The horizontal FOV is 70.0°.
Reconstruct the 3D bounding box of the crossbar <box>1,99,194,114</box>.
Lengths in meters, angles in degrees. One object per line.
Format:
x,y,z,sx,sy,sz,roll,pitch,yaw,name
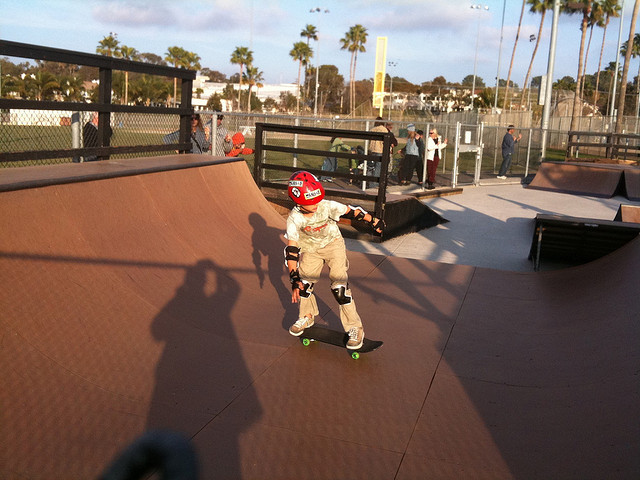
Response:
-2.899,-1.807,6.261,0.341,0.114,2.890,11,17,24,crossbar

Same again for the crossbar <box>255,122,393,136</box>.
0.098,-2.060,8.479,2.692,0.077,0.885,13,18,28,crossbar

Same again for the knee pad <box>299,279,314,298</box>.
-0.134,0.460,4.234,0.095,0.181,0.049,5,-5,5,knee pad

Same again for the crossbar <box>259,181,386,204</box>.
0.030,-0.902,8.559,2.468,0.158,0.411,12,17,25,crossbar

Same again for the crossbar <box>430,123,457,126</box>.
4.664,-4.310,17.089,0.575,0.091,5.254,9,16,17,crossbar

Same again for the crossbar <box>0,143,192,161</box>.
-2.927,-1.216,6.236,0.262,0.127,2.906,10,17,22,crossbar

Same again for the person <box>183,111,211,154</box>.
-2.409,-2.118,9.065,0.348,0.861,2.445,0,16,-11,person

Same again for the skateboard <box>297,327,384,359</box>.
0.160,0.983,4.277,0.574,0.116,0.163,10,25,23,skateboard

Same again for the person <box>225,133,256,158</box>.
-1.830,-2.066,10.040,0.487,0.530,1.768,0,16,-13,person

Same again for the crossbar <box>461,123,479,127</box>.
6.317,-4.788,19.140,0.615,0.126,5.911,9,16,17,crossbar

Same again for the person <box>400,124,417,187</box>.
2.959,-2.790,15.139,0.491,1.967,0.922,5,14,10,person

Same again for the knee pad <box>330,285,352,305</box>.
0.198,0.489,4.233,0.133,0.195,0.179,-12,-6,21,knee pad
